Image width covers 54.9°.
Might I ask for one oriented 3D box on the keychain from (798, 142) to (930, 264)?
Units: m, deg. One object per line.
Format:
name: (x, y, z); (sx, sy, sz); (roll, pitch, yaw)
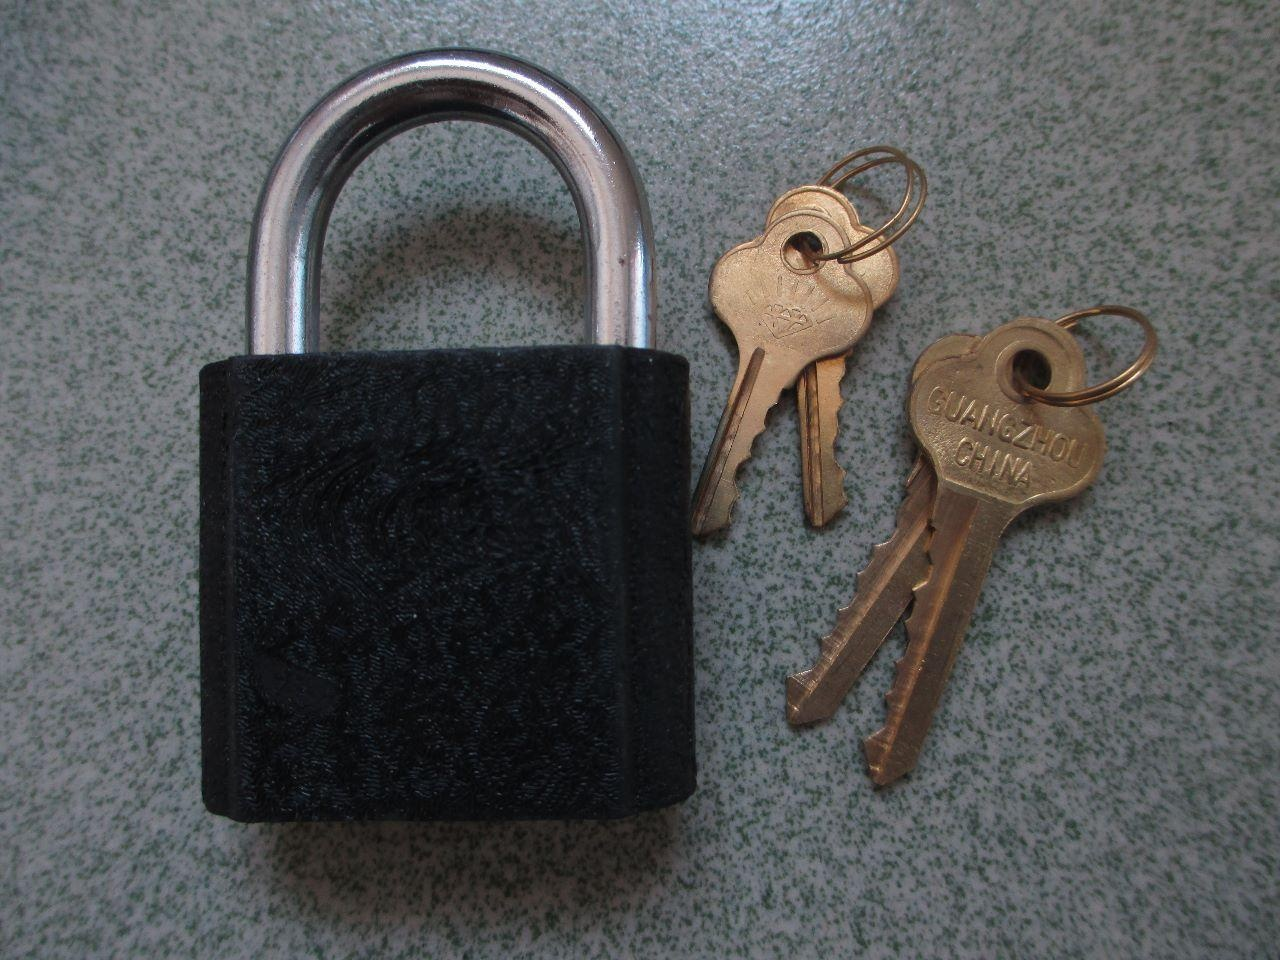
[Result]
keychain: (0.205, -0.242, 1.115); (0.119, 0.034, 0.113); (-20, 51, 38)
